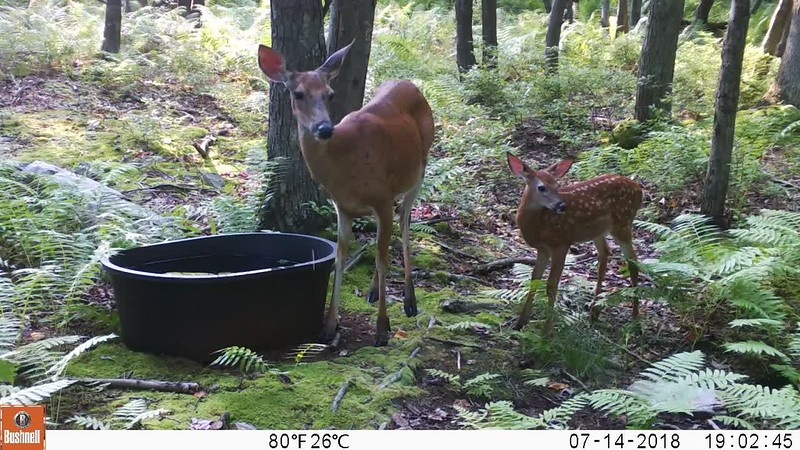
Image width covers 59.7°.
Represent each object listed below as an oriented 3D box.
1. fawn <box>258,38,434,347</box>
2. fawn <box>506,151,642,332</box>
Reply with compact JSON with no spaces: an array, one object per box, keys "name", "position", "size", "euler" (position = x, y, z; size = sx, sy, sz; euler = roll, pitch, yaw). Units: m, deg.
[{"name":"fawn","position":[-0.516,-0.491,10.777],"size":[1.430,4.584,4.373],"euler":[7,19,22]},{"name":"fawn","position":[2.715,0.139,10.906],"size":[3.266,2.612,1.193],"euler":[-9,13,-42]}]
